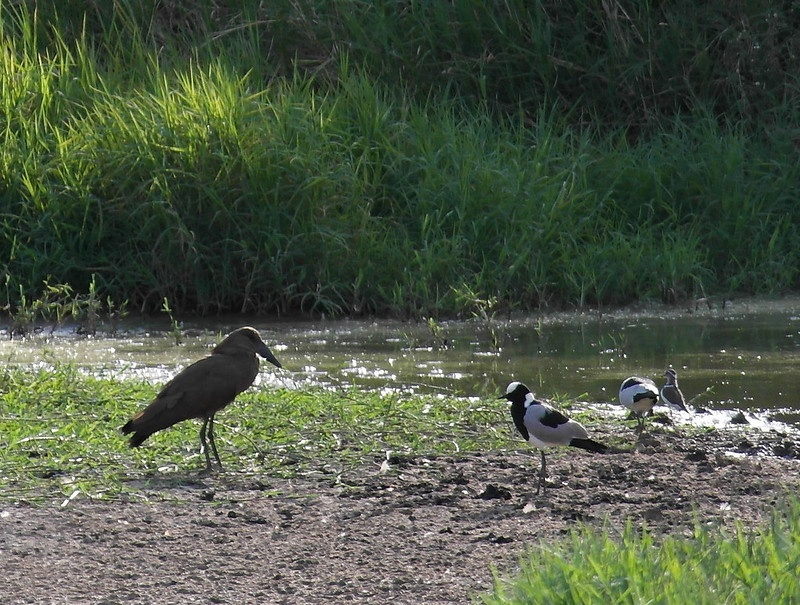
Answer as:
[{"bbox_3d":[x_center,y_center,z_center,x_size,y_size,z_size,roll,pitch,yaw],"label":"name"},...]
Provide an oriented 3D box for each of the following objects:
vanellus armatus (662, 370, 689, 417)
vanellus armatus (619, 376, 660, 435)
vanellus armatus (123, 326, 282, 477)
[{"bbox_3d":[2.244,0.718,11.005,0.260,0.338,0.174,18,20,36],"label":"vanellus armatus"},{"bbox_3d":[1.869,0.769,10.713,0.215,0.418,0.462,2,-1,-11],"label":"vanellus armatus"},{"bbox_3d":[-1.439,0.739,9.848,1.204,1.191,0.491,1,-10,-27],"label":"vanellus armatus"}]
